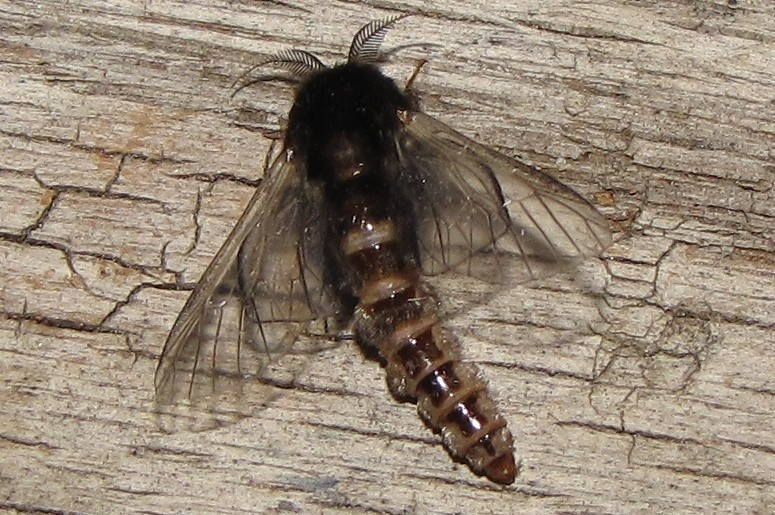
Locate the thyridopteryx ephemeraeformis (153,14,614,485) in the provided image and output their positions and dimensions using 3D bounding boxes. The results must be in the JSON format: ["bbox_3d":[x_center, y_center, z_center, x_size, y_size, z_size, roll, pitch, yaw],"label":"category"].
[{"bbox_3d":[-0.108,-0.298,7.857,2.586,3.297,3.649,3,-34,-2],"label":"thyridopteryx ephemeraeformis"}]
